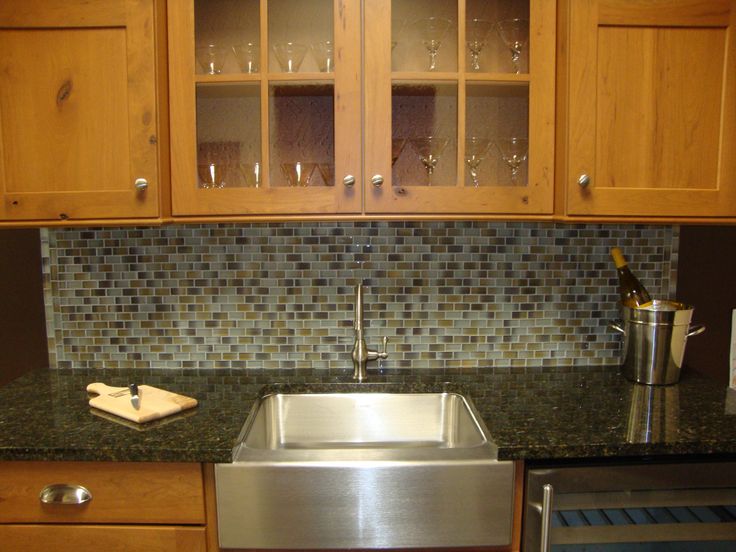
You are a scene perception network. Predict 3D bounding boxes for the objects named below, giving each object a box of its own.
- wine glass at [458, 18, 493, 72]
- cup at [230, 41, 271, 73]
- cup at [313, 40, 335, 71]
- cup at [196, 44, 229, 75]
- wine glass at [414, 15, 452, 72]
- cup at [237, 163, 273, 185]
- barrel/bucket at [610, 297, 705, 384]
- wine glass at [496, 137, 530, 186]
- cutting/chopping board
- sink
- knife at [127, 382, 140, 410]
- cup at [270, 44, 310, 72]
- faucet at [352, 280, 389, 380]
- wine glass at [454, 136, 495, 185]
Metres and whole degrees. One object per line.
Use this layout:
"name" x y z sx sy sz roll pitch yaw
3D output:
"wine glass" 0.335 -0.706 2.500 0.135 0.157 0.131 0 1 5
"cup" -0.365 -0.661 2.476 0.094 0.067 0.089 0 8 0
"cup" -0.131 -0.666 2.463 0.086 0.072 0.082 -2 4 0
"cup" -0.476 -0.657 2.479 0.094 0.063 0.093 0 -2 0
"wine glass" 0.203 -0.722 2.564 0.134 0.151 0.129 -1 1 -2
"cup" -0.351 -0.306 2.497 0.094 0.084 0.067 -1 -1 0
"barrel/bucket" 0.904 0.202 2.655 0.384 0.289 0.253 1 5 8
"wine glass" 0.430 -0.351 2.562 0.134 0.156 0.133 -5 -6 1
"cutting/chopping board" -0.734 0.396 2.525 0.383 0.158 0.183 -10 -20 27
"sink" -0.002 0.450 2.463 0.729 0.250 0.400 -1 -17 1
"knife" -0.712 0.369 2.484 0.033 0.104 0.040 -5 -15 -11
"cup" -0.239 -0.666 2.525 0.108 0.061 0.086 -1 -1 -4
"faucet" 0.007 0.185 2.750 0.120 0.346 0.233 -1 -18 0
"wine glass" 0.331 -0.359 2.565 0.133 0.151 0.133 -2 -1 -35
